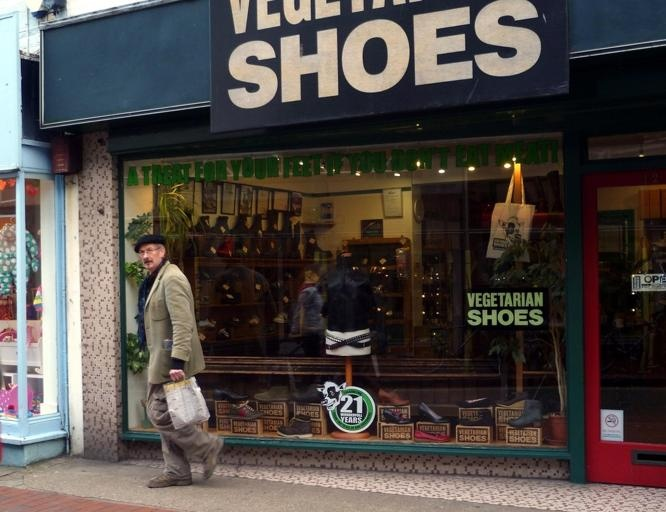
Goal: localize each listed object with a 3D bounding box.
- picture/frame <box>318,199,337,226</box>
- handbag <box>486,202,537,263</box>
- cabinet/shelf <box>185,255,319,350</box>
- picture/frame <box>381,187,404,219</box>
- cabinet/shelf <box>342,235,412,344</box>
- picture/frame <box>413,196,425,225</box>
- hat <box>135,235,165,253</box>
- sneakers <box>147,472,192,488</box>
[{"bbox_3d":[-0.060,-0.493,7.840,0.214,0.414,0.224,0,-1,16],"label":"picture/frame"},{"bbox_3d":[1.856,-0.234,7.300,0.488,0.732,0.234,8,8,13],"label":"handbag"},{"bbox_3d":[-0.929,0.592,8.089,1.258,1.156,0.381,-1,0,-16],"label":"cabinet/shelf"},{"bbox_3d":[0.646,-0.584,7.637,0.323,0.469,0.046,0,7,13],"label":"picture/frame"},{"bbox_3d":[0.536,0.403,7.904,0.735,1.309,0.392,-1,9,16],"label":"cabinet/shelf"},{"bbox_3d":[0.923,-0.492,7.562,0.032,0.299,0.288,-2,2,-29],"label":"picture/frame"},{"bbox_3d":[-1.815,-0.151,7.092,0.209,0.090,0.207,-7,-10,-45],"label":"hat"},{"bbox_3d":[-1.597,2.218,7.036,0.436,0.208,0.161,4,-6,-8],"label":"sneakers"}]
